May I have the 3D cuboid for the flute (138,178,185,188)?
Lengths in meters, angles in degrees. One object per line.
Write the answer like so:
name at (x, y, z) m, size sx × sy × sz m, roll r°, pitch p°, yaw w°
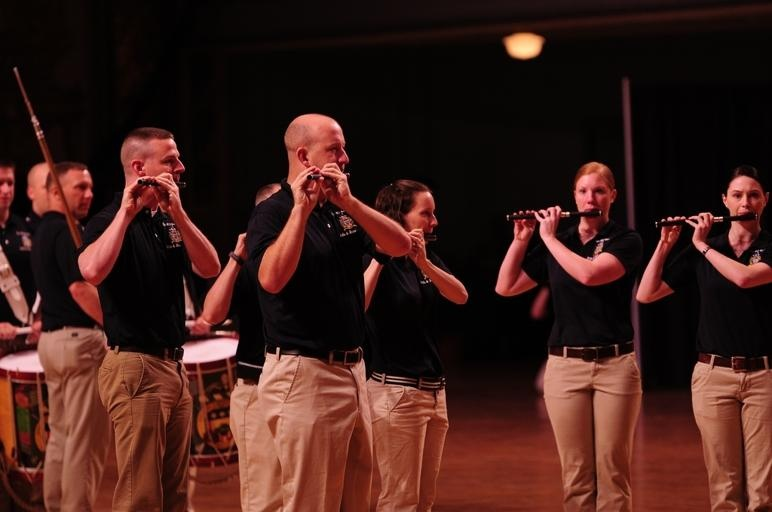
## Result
flute at (-1.279, -0.420, 4.850) m, size 0.084 × 0.057 × 0.326 m, roll 4°, pitch 9°, yaw 30°

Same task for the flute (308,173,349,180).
flute at (-0.332, -0.396, 4.250) m, size 0.129 × 0.039 × 0.020 m, roll -2°, pitch 9°, yaw -7°

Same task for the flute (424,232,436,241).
flute at (0.273, -0.116, 5.052) m, size 0.042 × 0.030 × 0.118 m, roll -10°, pitch -7°, yaw 22°

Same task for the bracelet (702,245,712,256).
bracelet at (1.955, -0.032, 5.159) m, size 0.054 × 0.020 × 0.046 m, roll -41°, pitch 21°, yaw -8°

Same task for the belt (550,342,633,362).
belt at (1.227, 0.575, 5.068) m, size 0.489 × 0.108 × 0.110 m, roll 1°, pitch 8°, yaw 12°
